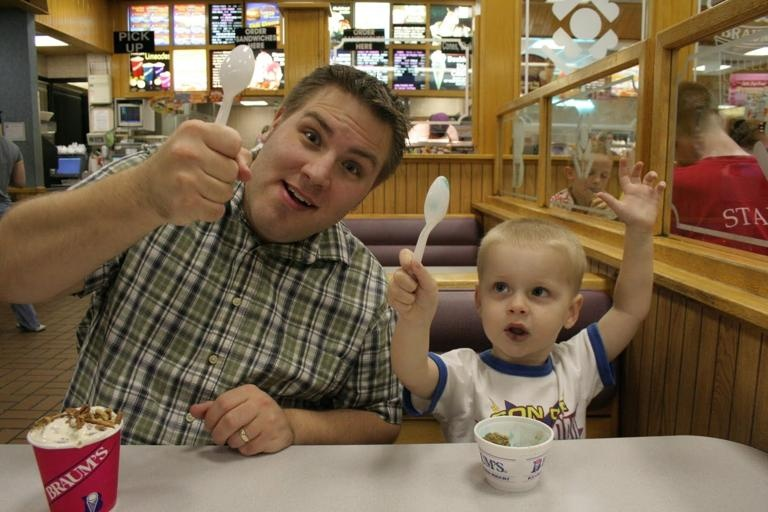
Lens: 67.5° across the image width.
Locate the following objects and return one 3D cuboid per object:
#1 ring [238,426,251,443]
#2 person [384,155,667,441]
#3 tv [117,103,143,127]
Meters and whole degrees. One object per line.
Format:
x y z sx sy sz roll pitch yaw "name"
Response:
-0.349 0.438 1.408 0.027 0.033 0.015 5 -1 1 "ring"
0.396 0.188 1.695 0.886 0.899 0.336 -7 14 -27 "person"
-3.911 -2.160 8.772 0.327 0.312 0.180 0 5 -5 "tv"
